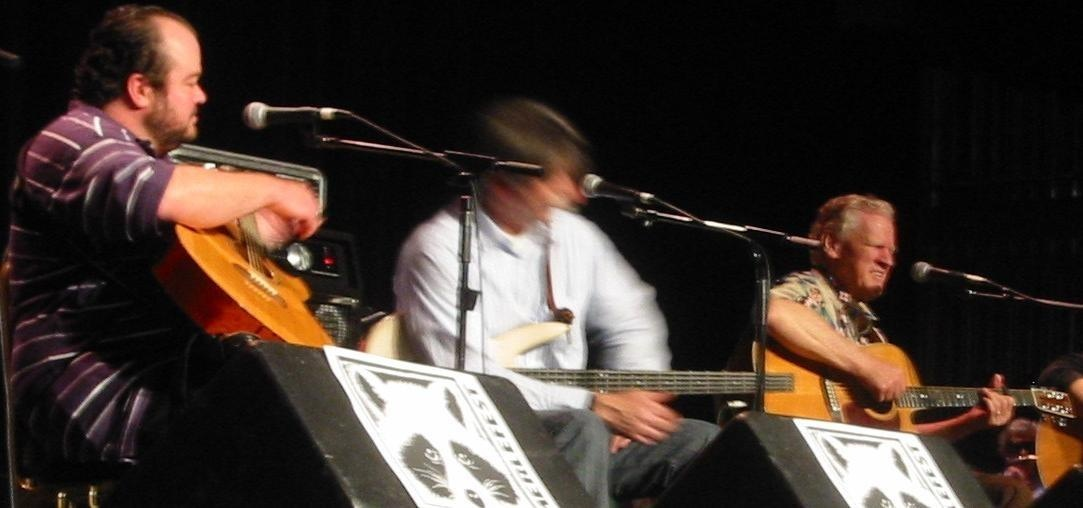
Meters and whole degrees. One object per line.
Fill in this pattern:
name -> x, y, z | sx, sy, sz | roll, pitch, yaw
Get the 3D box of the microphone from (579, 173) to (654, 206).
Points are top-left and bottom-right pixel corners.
microphone -> 0.601, -0.423, 8.924 | 0.693, 0.149, 0.167 | 5, -37, 6
